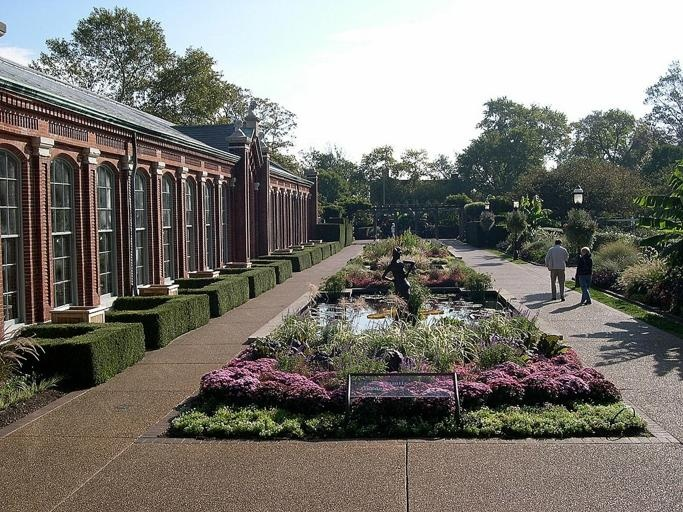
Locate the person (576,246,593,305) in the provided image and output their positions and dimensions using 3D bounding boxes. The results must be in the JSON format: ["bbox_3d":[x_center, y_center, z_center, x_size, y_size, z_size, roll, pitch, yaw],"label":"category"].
[{"bbox_3d":[7.605,0.565,17.842,0.438,1.695,2.619,3,10,23],"label":"person"}]

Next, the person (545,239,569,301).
[{"bbox_3d":[7.023,0.466,18.623,0.694,2.096,0.689,-1,-18,22],"label":"person"}]
